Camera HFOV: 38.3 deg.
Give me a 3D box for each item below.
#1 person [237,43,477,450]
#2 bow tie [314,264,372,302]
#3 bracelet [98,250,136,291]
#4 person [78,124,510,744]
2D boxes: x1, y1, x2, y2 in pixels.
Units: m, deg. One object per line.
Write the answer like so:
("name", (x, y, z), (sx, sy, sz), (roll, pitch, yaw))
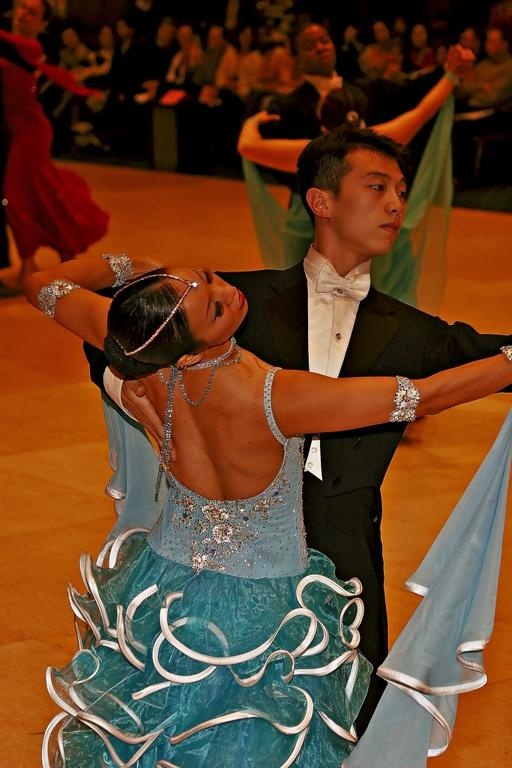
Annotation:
("person", (0.664, -1.003, 4.477), (1.476, 1.703, 0.478), (-8, 19, -10))
("bow tie", (0.198, -0.231, 1.697), (0.135, 0.078, 0.046), (9, 3, -6))
("bracelet", (-0.297, -0.246, 1.587), (0.086, 0.093, 0.051), (-4, -12, -14))
("person", (0.319, 0.094, 2.074), (0.749, 1.535, 1.186), (-20, 34, -38))
